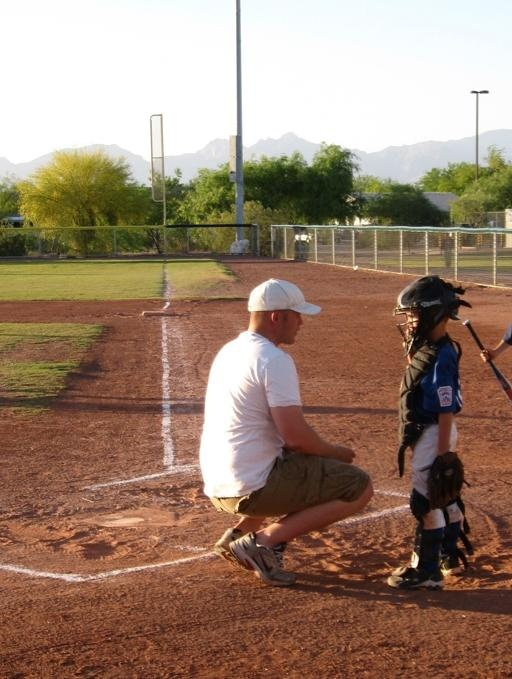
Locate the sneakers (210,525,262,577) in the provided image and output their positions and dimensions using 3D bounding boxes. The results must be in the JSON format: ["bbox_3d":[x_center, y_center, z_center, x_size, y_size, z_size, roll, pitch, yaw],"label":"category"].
[{"bbox_3d":[-0.116,1.004,3.658,0.155,0.288,0.110,-31,32,6],"label":"sneakers"}]

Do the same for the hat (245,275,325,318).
[{"bbox_3d":[0.148,-0.190,3.532,0.296,0.118,0.165,-4,13,-6],"label":"hat"}]

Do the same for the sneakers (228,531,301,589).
[{"bbox_3d":[0.023,1.008,3.527,0.299,0.231,0.135,-1,9,-4],"label":"sneakers"}]

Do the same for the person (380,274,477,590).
[{"bbox_3d":[0.805,0.420,3.471,0.370,1.393,0.431,1,10,12],"label":"person"}]

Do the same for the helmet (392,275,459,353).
[{"bbox_3d":[0.798,-0.145,3.524,0.331,0.254,0.224,-13,2,-8],"label":"helmet"}]

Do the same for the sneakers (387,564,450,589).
[{"bbox_3d":[0.759,1.079,3.516,0.294,0.117,0.092,2,0,-1],"label":"sneakers"}]

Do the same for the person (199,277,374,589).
[{"bbox_3d":[0.136,0.427,3.548,0.785,1.397,0.405,-2,10,-4],"label":"person"}]
